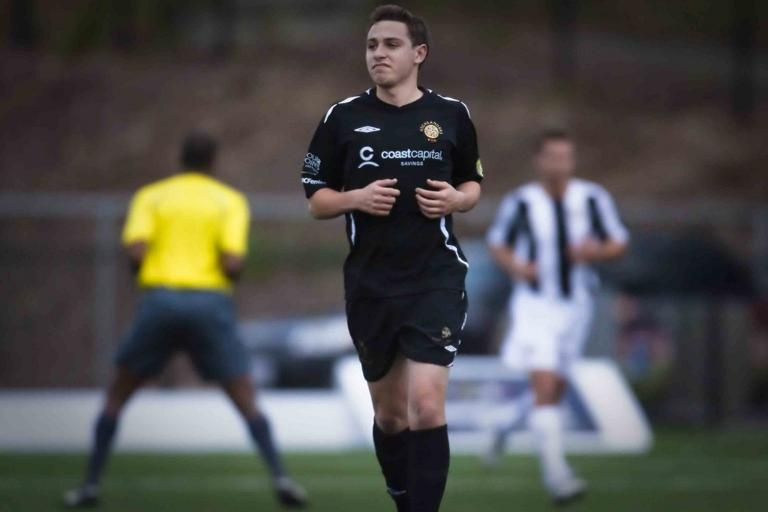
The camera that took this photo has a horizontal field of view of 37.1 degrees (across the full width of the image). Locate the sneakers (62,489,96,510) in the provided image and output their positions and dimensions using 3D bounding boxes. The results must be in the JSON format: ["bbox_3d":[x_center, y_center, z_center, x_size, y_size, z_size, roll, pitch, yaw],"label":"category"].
[{"bbox_3d":[-1.854,1.494,7.008,0.114,0.073,0.153,0,-4,30],"label":"sneakers"}]

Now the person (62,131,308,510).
[{"bbox_3d":[-1.163,0.327,7.155,1.055,2.070,0.710,1,16,1],"label":"person"}]

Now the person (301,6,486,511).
[{"bbox_3d":[0.140,0.064,6.042,0.777,2.633,1.015,-9,18,-30],"label":"person"}]

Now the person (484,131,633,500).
[{"bbox_3d":[1.153,0.438,7.484,0.771,1.896,1.168,-1,16,-6],"label":"person"}]
